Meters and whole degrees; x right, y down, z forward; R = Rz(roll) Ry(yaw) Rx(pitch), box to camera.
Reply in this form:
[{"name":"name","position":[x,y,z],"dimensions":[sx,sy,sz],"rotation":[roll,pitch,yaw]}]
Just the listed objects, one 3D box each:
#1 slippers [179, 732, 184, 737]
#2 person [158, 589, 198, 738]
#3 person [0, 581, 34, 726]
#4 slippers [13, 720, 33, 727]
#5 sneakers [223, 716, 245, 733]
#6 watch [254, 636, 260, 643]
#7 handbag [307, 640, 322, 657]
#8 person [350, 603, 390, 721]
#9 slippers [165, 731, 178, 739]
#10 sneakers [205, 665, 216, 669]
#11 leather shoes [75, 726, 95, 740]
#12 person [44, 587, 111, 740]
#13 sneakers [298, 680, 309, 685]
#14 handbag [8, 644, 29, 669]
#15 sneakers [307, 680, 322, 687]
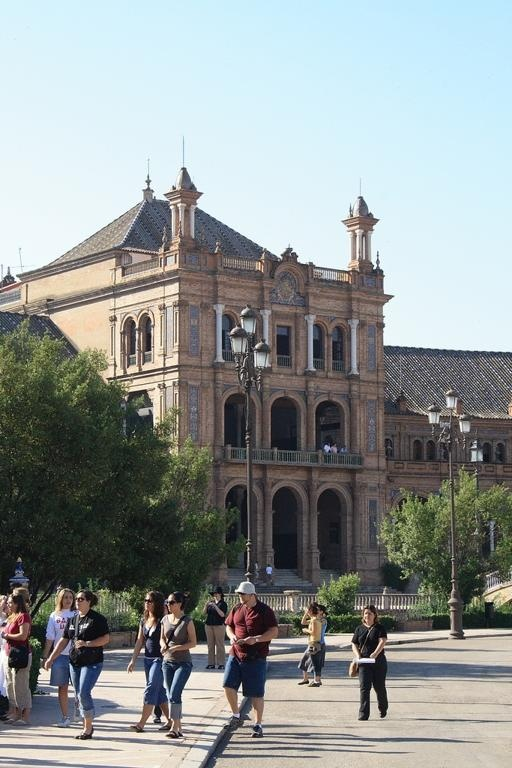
[{"name":"slippers","position":[-0.875,4.069,20.924],"dimensions":[0.014,0.066,0.062],"rotation":[1,-1,38]},{"name":"person","position":[-0.923,3.290,21.097],"dimensions":[0.396,1.684,0.828],"rotation":[0,-8,-3]},{"name":"person","position":[-2.938,3.298,22.060],"dimensions":[0.354,1.652,0.887],"rotation":[1,-8,-9]},{"name":"slippers","position":[-2.849,4.111,21.912],"dimensions":[0.197,0.092,0.075],"rotation":[9,-25,-11]},{"name":"sneakers","position":[-0.276,4.117,21.846],"dimensions":[0.121,0.188,0.401],"rotation":[-1,-11,9]},{"name":"watch","position":[0.008,2.953,20.860],"dimensions":[0.036,0.067,0.067],"rotation":[5,33,5]},{"name":"handbag","position":[0.934,4.233,28.967],"dimensions":[0.228,0.270,0.174],"rotation":[10,-12,-24]},{"name":"person","position":[1.438,3.553,22.966],"dimensions":[0.417,1.464,0.854],"rotation":[0,-8,3]},{"name":"slippers","position":[-0.961,4.042,20.768],"dimensions":[0.147,0.100,0.250],"rotation":[0,-10,-2]},{"name":"sneakers","position":[-0.839,5.167,32.967],"dimensions":[0.170,0.142,0.063],"rotation":[3,-3,16]},{"name":"leather shoes","position":[-1.969,4.018,20.739],"dimensions":[0.129,0.137,0.296],"rotation":[-2,-12,8]},{"name":"person","position":[-2.034,3.301,21.288],"dimensions":[0.520,1.734,1.541],"rotation":[1,-9,-7]},{"name":"sneakers","position":[0.750,4.867,29.382],"dimensions":[0.077,0.118,0.231],"rotation":[7,-6,-44]},{"name":"handbag","position":[-2.860,3.282,21.728],"dimensions":[0.243,0.316,0.139],"rotation":[2,-8,-11]},{"name":"sneakers","position":[0.914,4.837,29.035],"dimensions":[0.246,0.126,0.098],"rotation":[4,-3,23]}]
